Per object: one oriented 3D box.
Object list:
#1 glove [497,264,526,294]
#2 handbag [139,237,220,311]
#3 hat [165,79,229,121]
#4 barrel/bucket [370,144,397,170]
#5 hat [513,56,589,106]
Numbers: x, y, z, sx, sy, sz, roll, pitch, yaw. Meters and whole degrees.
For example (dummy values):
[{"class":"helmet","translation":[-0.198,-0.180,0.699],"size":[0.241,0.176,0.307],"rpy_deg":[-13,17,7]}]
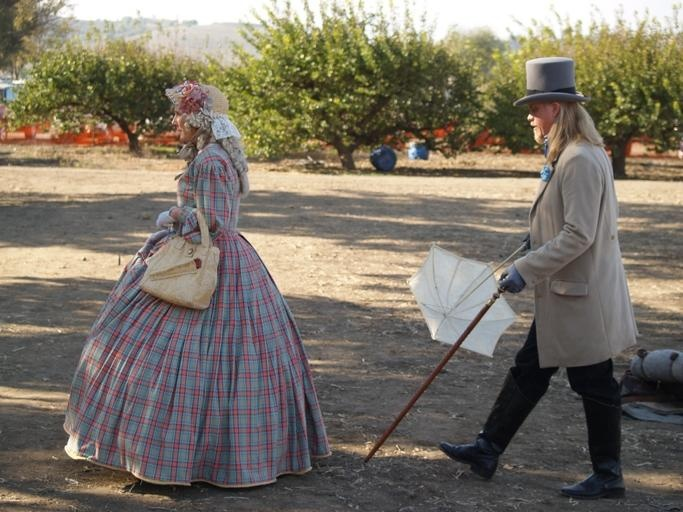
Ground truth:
[{"class":"glove","translation":[2.226,0.322,17.423],"size":[0.441,0.154,0.299],"rpy_deg":[-28,43,-10]},{"class":"handbag","translation":[-2.163,0.273,17.484],"size":[0.980,0.784,0.340],"rpy_deg":[16,-7,3]},{"class":"hat","translation":[-1.953,-2.058,17.662],"size":[0.738,0.294,0.479],"rpy_deg":[2,13,-7]},{"class":"barrel/bucket","translation":[1.220,-2.918,40.804],"size":[0.798,0.769,1.380],"rpy_deg":[-2,11,1]},{"class":"hat","translation":[2.779,-2.288,17.602],"size":[0.897,0.380,0.736],"rpy_deg":[-5,11,-10]}]
